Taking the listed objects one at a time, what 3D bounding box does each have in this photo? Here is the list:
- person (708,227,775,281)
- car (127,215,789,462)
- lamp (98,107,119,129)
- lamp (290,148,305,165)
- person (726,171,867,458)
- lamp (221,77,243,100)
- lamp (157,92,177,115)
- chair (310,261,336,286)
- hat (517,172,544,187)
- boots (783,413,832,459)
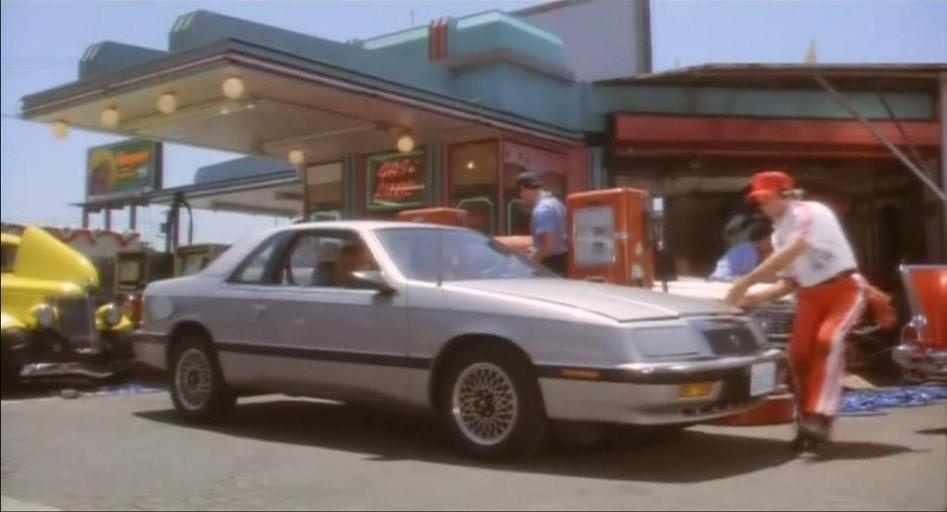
[{"bbox_3d":[4.342,-0.022,12.818,0.393,0.361,1.221,20,45,14],"label":"person"},{"bbox_3d":[-0.523,0.922,9.082,6.280,1.843,2.878,-2,-4,30],"label":"car"},{"bbox_3d":[-6.986,-2.648,15.228,0.357,0.319,0.345,-5,-14,11],"label":"lamp"},{"bbox_3d":[-4.318,-2.415,19.345,0.322,0.276,0.309,4,-7,-43],"label":"lamp"},{"bbox_3d":[3.620,0.575,8.726,1.113,2.881,0.972,8,15,37],"label":"person"},{"bbox_3d":[-4.172,-2.895,13.738,0.349,0.320,0.086,-2,9,-12],"label":"lamp"},{"bbox_3d":[-5.564,-2.751,14.388,0.333,0.235,0.343,-13,-15,37],"label":"lamp"},{"bbox_3d":[-1.720,0.236,9.213,0.287,0.302,0.301,-7,-13,31],"label":"chair"},{"bbox_3d":[0.777,-1.101,11.348,0.268,0.164,0.284,1,-3,-16],"label":"hat"},{"bbox_3d":[3.592,1.919,8.512,0.448,0.422,0.420,-2,-5,26],"label":"boots"}]
